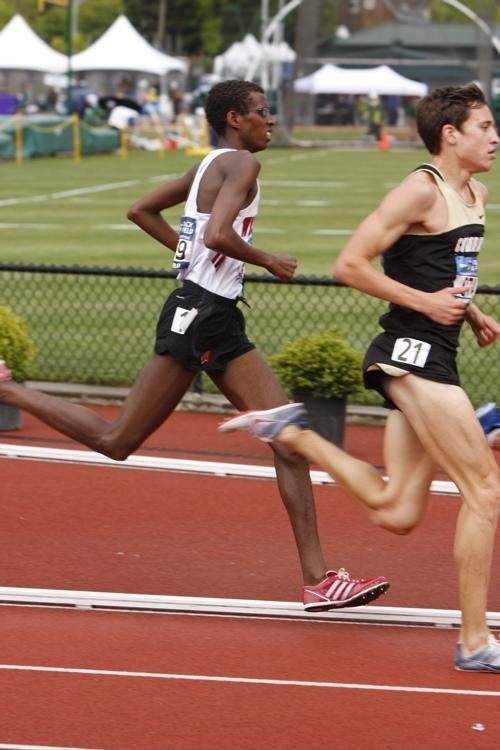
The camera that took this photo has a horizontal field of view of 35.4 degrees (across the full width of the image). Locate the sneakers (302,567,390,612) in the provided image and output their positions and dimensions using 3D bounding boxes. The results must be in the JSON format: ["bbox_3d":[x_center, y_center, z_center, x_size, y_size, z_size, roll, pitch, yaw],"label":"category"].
[{"bbox_3d":[0.388,0.776,2.872,0.370,0.114,0.156,-10,48,-2],"label":"sneakers"}]

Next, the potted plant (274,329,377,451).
[{"bbox_3d":[0.338,0.140,5.937,0.954,0.871,0.778,-2,-3,-6],"label":"potted plant"}]

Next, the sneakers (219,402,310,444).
[{"bbox_3d":[0.062,0.160,2.689,0.334,0.116,0.112,-10,1,13],"label":"sneakers"}]
